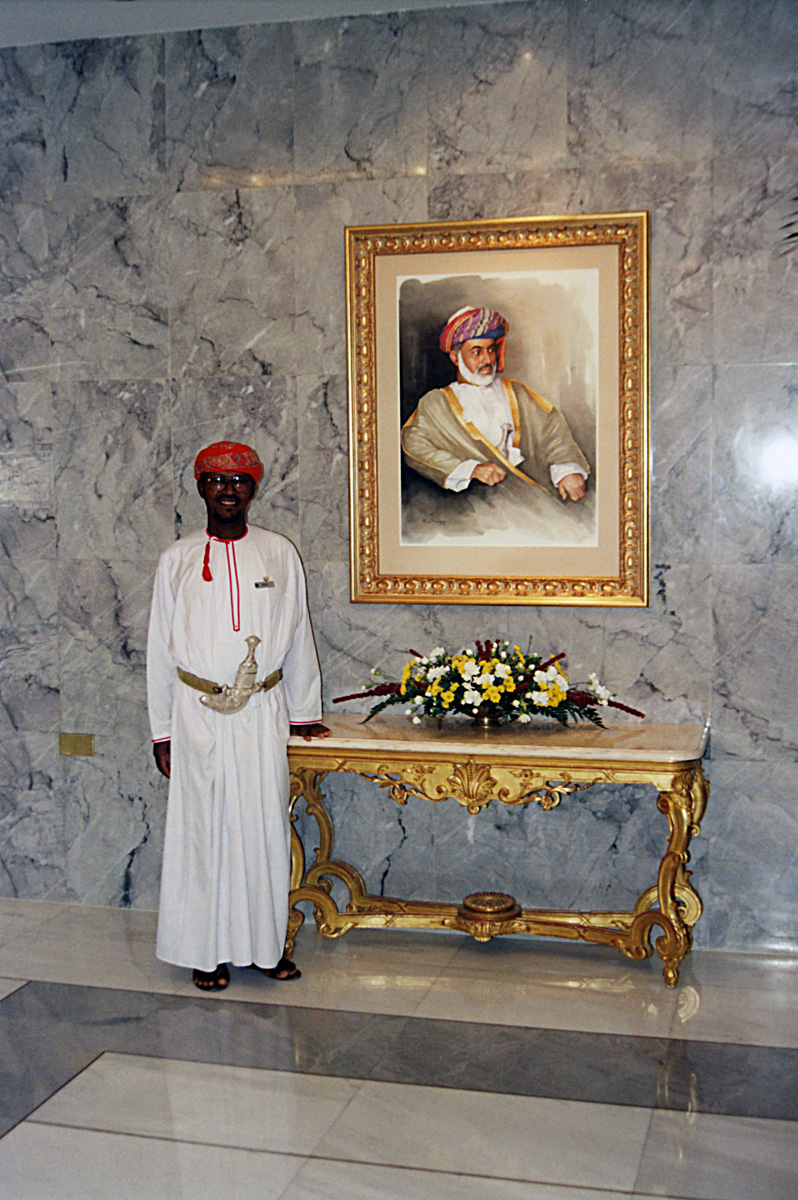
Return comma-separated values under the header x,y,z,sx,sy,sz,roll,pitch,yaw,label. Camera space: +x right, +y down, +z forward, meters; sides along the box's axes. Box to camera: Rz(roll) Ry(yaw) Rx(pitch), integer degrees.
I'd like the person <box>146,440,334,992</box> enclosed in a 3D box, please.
x,y,z,sx,sy,sz,roll,pitch,yaw,label
-0.529,0.368,4.451,0.584,1.754,0.435,-2,7,-8,person

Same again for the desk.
x,y,z,sx,sy,sz,roll,pitch,yaw,label
0.329,0.834,4.616,1.406,0.813,0.533,1,7,16,desk

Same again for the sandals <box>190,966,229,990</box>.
x,y,z,sx,sy,sz,roll,pitch,yaw,label
-0.612,1.225,4.397,0.121,0.066,0.105,-2,6,-9,sandals

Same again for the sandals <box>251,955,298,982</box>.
x,y,z,sx,sy,sz,roll,pitch,yaw,label
-0.422,1.224,4.502,0.172,0.041,0.061,1,7,31,sandals
